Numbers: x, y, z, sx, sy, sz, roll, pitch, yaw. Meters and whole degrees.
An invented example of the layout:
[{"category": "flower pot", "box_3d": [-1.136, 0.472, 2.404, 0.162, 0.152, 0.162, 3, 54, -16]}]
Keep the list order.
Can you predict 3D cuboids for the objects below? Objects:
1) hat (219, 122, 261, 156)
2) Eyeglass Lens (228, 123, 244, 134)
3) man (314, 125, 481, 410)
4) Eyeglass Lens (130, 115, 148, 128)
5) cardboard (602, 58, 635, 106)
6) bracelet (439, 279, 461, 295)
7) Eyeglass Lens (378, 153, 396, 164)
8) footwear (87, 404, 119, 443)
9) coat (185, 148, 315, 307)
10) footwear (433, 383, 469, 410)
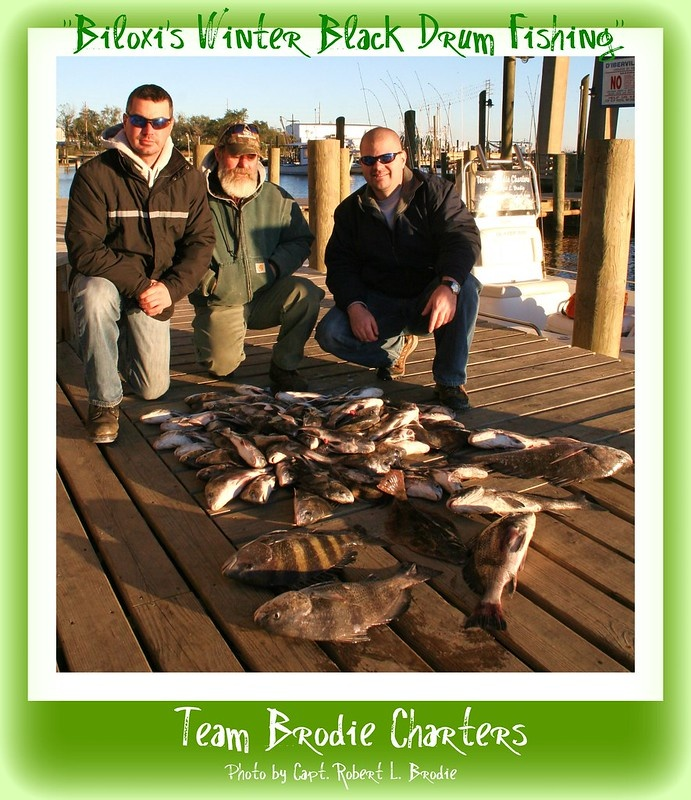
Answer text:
[{"category": "hat", "box_3d": [-0.660, -1.664, 4.022, 0.290, 0.221, 0.254, -6, 14, -23]}, {"category": "Eyeglass Lens", "box_3d": [-0.699, -1.736, 4.012, 0.103, 0.040, 0.096, 6, 14, 24]}, {"category": "man", "box_3d": [0.385, -0.853, 4.112, 0.678, 1.694, 1.132, -10, 17, -38]}, {"category": "Eyeglass Lens", "box_3d": [-1.109, -1.497, 3.378, 0.105, 0.075, 0.015, 4, 14, 17]}, {"category": "cardboard", "box_3d": [4.638, -5.436, 10.724, 0.509, 0.920, 0.719, 4, 14, 19]}, {"category": "bracelet", "box_3d": [0.628, -0.702, 3.799, 0.107, 0.077, 0.118, 15, -17, 39]}, {"category": "Eyeglass Lens", "box_3d": [0.257, -1.492, 3.883, 0.109, 0.065, 0.032, -1, 13, -3]}, {"category": "footwear", "box_3d": [-1.321, 0.133, 3.430, 0.163, 0.186, 0.217, -5, 14, -21]}, {"category": "coat", "box_3d": [-0.711, -1.178, 4.326, 1.039, 0.943, 0.502, -7, 43, -19]}, {"category": "footwear", "box_3d": [0.657, -0.018, 3.966, 0.113, 0.097, 0.242, -19, 27, -25]}]
